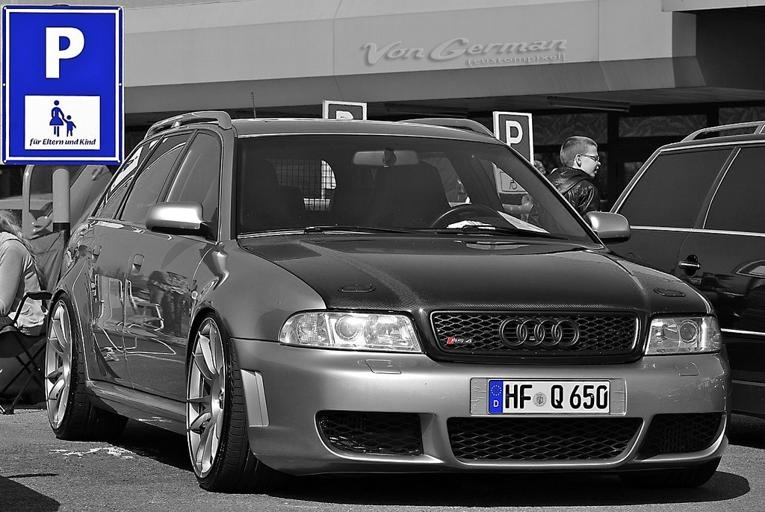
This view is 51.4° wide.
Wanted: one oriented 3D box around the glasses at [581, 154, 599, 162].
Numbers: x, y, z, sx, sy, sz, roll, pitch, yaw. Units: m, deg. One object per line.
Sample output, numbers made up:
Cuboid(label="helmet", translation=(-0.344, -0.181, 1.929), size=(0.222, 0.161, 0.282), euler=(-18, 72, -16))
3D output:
Cuboid(label="glasses", translation=(2.468, -1.169, 9.467), size=(0.178, 0.052, 0.174), euler=(-2, -4, 31))

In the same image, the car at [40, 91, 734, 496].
Cuboid(label="car", translation=(-0.446, 0.144, 5.151), size=(2.103, 1.477, 3.787), euler=(3, -4, -25))
